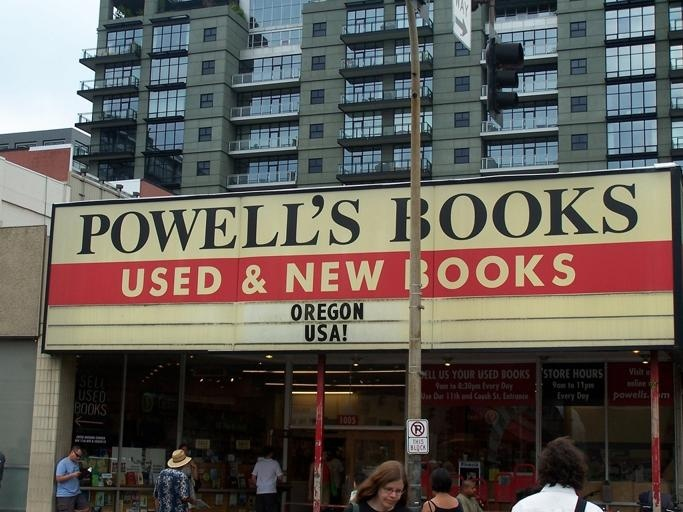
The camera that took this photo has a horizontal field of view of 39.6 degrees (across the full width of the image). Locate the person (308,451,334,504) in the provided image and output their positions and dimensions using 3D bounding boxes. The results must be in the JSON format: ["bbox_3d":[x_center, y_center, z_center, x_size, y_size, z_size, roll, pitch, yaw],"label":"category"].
[{"bbox_3d":[-0.565,5.228,22.330,0.591,1.228,0.405,-13,-19,39],"label":"person"}]
